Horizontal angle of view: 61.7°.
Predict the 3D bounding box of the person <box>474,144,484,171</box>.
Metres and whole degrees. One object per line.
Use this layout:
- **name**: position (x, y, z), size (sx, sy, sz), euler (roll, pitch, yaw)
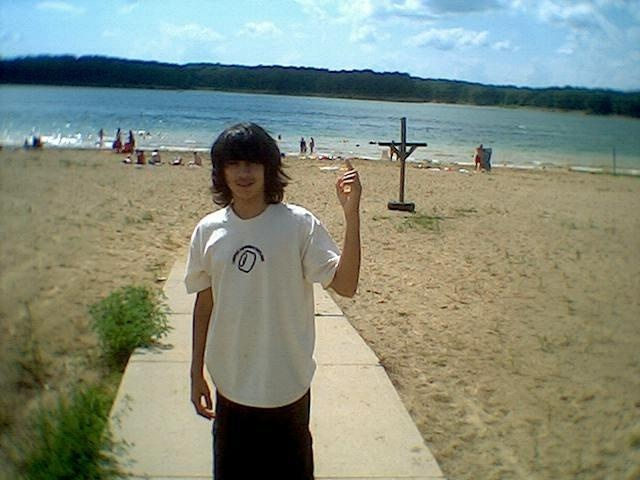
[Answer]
- **person**: position (7.233, -3.756, 24.284), size (0.384, 1.120, 1.997), euler (2, 7, 16)
